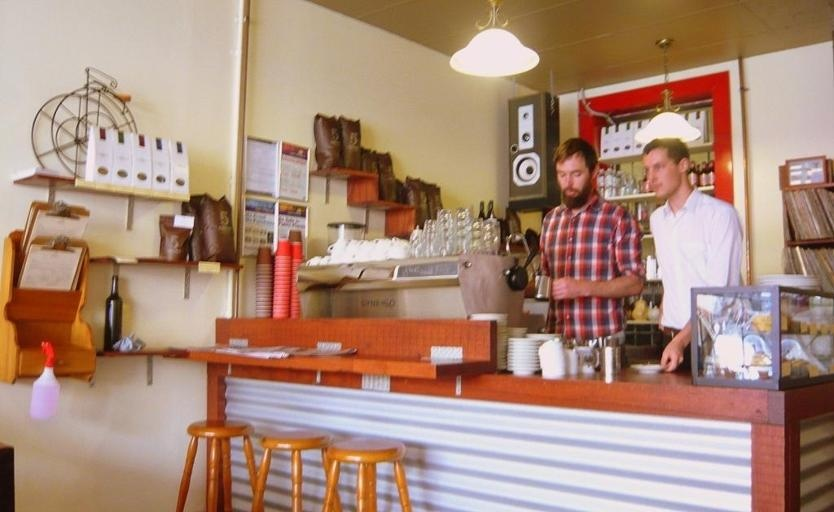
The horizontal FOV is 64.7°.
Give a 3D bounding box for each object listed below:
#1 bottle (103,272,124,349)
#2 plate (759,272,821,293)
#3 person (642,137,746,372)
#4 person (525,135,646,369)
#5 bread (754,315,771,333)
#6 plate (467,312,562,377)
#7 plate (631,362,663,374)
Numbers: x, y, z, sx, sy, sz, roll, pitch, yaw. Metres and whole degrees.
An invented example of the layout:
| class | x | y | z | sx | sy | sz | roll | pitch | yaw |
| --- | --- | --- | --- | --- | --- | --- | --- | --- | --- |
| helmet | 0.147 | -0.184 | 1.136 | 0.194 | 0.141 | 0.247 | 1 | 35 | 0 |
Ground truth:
| class | x | y | z | sx | sy | sz | roll | pitch | yaw |
| --- | --- | --- | --- | --- | --- | --- | --- | --- | --- |
| bottle | -2.167 | 0.405 | 4.702 | 0.120 | 0.532 | 0.142 | 4 | -8 | -26 |
| plate | 2.291 | 0.154 | 4.086 | 0.323 | 0.083 | 0.331 | -3 | -7 | 30 |
| person | 1.751 | -0.095 | 4.202 | 0.554 | 1.318 | 0.404 | -5 | -9 | 37 |
| person | 1.172 | -0.087 | 4.462 | 0.686 | 1.518 | 0.877 | -1 | -7 | 10 |
| bread | 1.672 | 0.329 | 3.198 | 0.083 | 0.075 | 0.020 | 1 | -7 | 39 |
| plate | 0.556 | 0.506 | 3.757 | 0.448 | 0.282 | 0.303 | -1 | -2 | 29 |
| plate | 1.326 | 0.652 | 3.824 | 0.176 | 0.045 | 0.237 | -2 | -6 | 18 |
